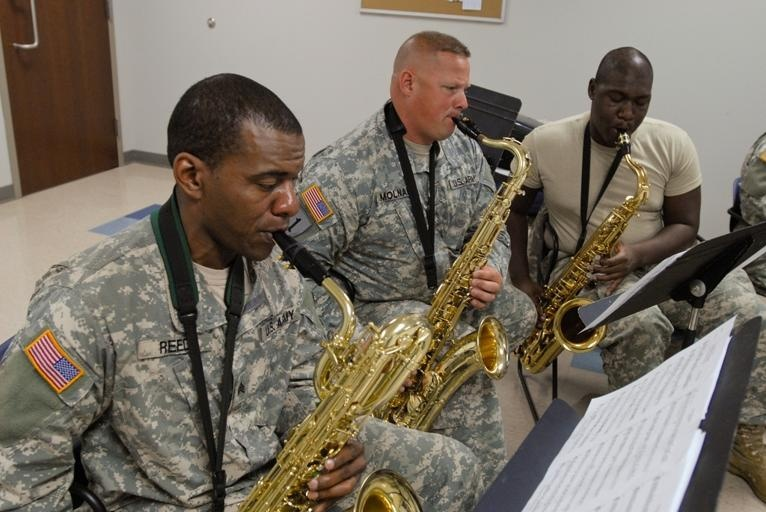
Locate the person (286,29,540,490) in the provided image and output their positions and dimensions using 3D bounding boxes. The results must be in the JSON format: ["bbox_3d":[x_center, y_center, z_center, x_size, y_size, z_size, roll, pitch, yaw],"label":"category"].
[{"bbox_3d":[0.266,0.128,3.461,1.196,2.491,0.886,13,25,31],"label":"person"}]
